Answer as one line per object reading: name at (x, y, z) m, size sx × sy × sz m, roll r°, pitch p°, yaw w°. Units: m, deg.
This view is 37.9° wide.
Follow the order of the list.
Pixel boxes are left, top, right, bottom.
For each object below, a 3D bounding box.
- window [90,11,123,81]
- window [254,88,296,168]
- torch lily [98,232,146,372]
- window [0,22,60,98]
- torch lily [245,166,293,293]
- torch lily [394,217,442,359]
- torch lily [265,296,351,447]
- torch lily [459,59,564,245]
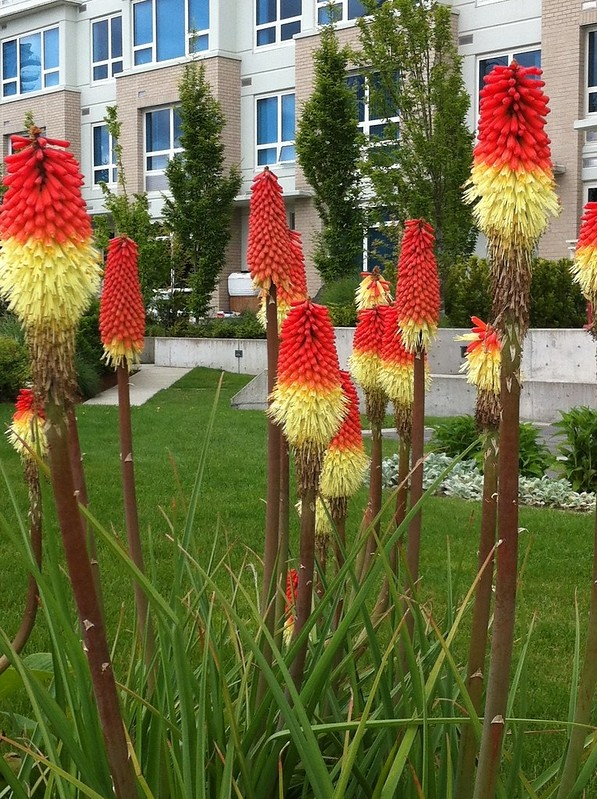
window at (-7.267, -13.491, 33.074) m, size 2.297 × 3.492 × 0.124 m, roll 2°, pitch 2°, yaw 43°
window at (-0.773, -8.899, 28.851) m, size 0.504 × 2.362 × 1.847 m, roll -6°, pitch 5°, yaw -37°
torch lily at (-0.605, -0.336, 2.993) m, size 0.141 × 0.434 × 0.148 m, roll 1°, pitch 6°, yaw 43°
window at (-10.618, -13.577, 34.699) m, size 2.806 × 2.435 × 0.123 m, roll 2°, pitch 7°, yaw 42°
torch lily at (-0.088, -0.488, 2.522) m, size 0.119 × 0.371 × 0.301 m, roll -3°, pitch 5°, yaw -2°
torch lily at (0.384, -0.385, 2.890) m, size 0.132 × 0.434 × 0.293 m, roll -2°, pitch 5°, yaw 13°
torch lily at (0.017, -0.058, 1.931) m, size 0.143 × 0.314 × 0.234 m, roll -3°, pitch 5°, yaw -2°
torch lily at (0.413, -0.479, 1.676) m, size 0.186 × 0.399 × 0.435 m, roll -2°, pitch 5°, yaw 13°
